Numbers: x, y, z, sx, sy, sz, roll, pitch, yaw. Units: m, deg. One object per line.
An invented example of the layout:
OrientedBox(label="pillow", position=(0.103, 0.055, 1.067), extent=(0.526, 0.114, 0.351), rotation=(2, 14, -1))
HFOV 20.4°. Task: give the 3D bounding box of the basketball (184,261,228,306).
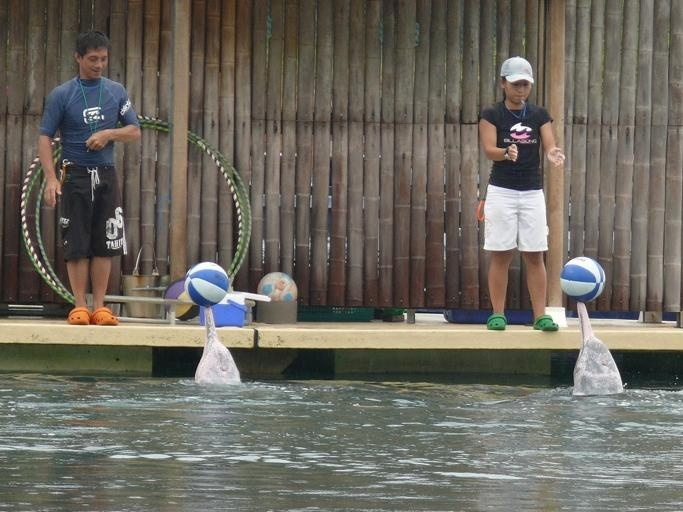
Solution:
OrientedBox(label="basketball", position=(-0.888, 0.165, 12.426), extent=(0.221, 0.281, 0.249), rotation=(1, 5, -22))

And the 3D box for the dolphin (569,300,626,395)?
OrientedBox(label="dolphin", position=(1.670, 0.696, 12.505), extent=(0.314, 0.749, 0.360), rotation=(9, -13, -34))

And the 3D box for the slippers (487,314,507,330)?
OrientedBox(label="slippers", position=(1.093, 0.448, 13.220), extent=(0.112, 0.101, 0.228), rotation=(0, -3, 6))

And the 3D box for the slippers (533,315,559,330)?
OrientedBox(label="slippers", position=(1.416, 0.454, 13.046), extent=(0.174, 0.105, 0.136), rotation=(4, 15, 11))

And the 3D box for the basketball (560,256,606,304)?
OrientedBox(label="basketball", position=(1.603, 0.139, 12.500), extent=(0.261, 0.299, 0.239), rotation=(2, 3, 9))

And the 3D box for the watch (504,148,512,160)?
OrientedBox(label="watch", position=(1.139, -0.710, 12.886), extent=(0.024, 0.067, 0.057), rotation=(4, 9, -12))

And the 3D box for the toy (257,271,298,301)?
OrientedBox(label="toy", position=(-0.478, 0.216, 14.111), extent=(0.222, 0.231, 0.215), rotation=(7, 6, 43))

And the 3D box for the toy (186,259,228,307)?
OrientedBox(label="toy", position=(-0.887, 0.170, 12.465), extent=(0.259, 0.264, 0.265), rotation=(20, 26, -8))

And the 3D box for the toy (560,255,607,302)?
OrientedBox(label="toy", position=(1.616, 0.152, 12.624), extent=(0.292, 0.362, 0.310), rotation=(11, 18, 39))

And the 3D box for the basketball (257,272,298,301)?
OrientedBox(label="basketball", position=(-0.476, 0.206, 14.147), extent=(0.222, 0.231, 0.215), rotation=(7, 6, 43))

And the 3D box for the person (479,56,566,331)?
OrientedBox(label="person", position=(1.236, -0.437, 13.209), extent=(0.578, 1.846, 0.655), rotation=(0, 1, -6))

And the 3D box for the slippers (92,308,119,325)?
OrientedBox(label="slippers", position=(-1.647, 0.413, 13.083), extent=(0.158, 0.106, 0.229), rotation=(-3, 16, -16))

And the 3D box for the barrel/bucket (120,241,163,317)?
OrientedBox(label="barrel/bucket", position=(-1.517, 0.187, 14.218), extent=(0.228, 0.471, 0.204), rotation=(0, 4, -37))

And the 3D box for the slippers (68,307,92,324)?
OrientedBox(label="slippers", position=(-1.815, 0.405, 13.042), extent=(0.140, 0.102, 0.183), rotation=(1, 15, -2))
